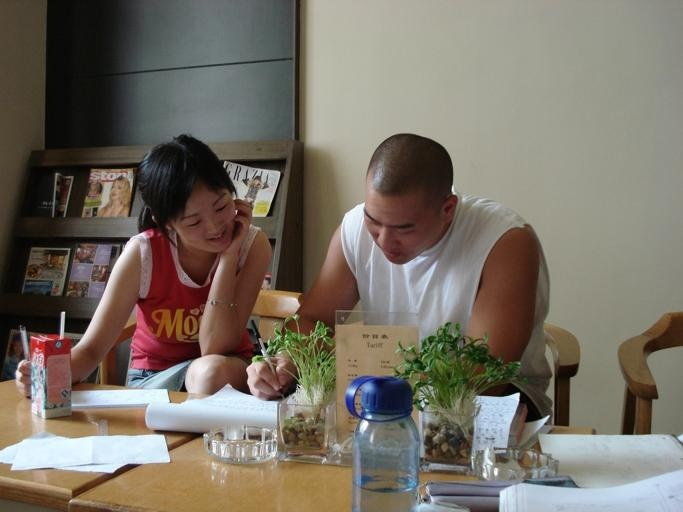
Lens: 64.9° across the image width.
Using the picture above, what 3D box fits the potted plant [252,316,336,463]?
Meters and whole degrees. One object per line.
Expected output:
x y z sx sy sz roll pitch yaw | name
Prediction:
-0.050 0.304 1.383 0.245 0.396 0.273 -1 -2 14 | potted plant

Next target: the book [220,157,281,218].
-0.440 -0.340 2.719 0.333 0.404 0.032 8 -1 10 | book

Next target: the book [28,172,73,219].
-1.835 -0.375 3.506 0.297 0.309 0.074 12 -2 35 | book

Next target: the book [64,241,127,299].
-1.360 0.080 2.981 0.306 0.356 0.035 -2 -17 20 | book

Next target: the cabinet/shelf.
-0.849 0.008 2.479 1.293 1.378 0.504 -1 -6 20 | cabinet/shelf

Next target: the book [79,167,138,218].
-1.407 -0.383 3.286 0.285 0.291 0.031 4 -8 29 | book
